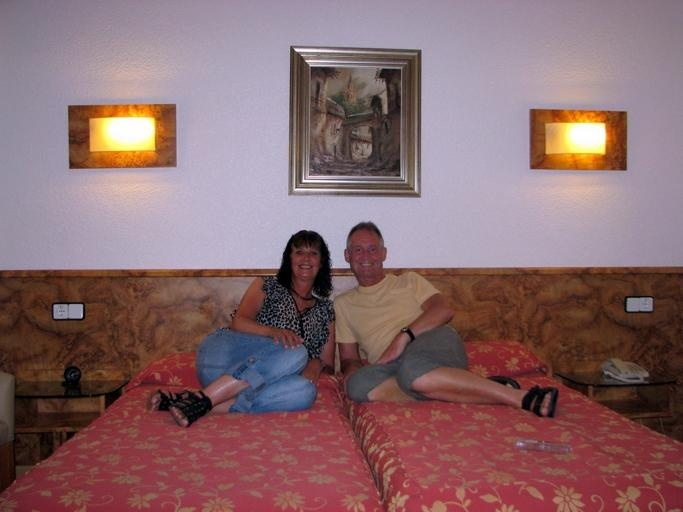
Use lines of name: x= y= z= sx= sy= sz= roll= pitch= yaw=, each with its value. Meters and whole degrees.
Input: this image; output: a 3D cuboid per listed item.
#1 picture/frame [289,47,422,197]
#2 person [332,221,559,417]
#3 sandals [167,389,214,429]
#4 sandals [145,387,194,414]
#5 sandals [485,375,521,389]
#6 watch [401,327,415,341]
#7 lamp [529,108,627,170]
picture/frame: x=0.061 y=-0.929 z=3.607 sx=0.959 sy=1.097 sz=0.081 roll=1 pitch=-2 yaw=-7
person: x=0.344 y=0.396 z=2.950 sx=0.760 sy=1.035 sz=1.532 roll=-17 pitch=10 yaw=-17
sandals: x=-0.721 y=0.728 z=2.554 sx=0.103 sy=0.069 sz=0.174 roll=41 pitch=13 yaw=6
sandals: x=-0.825 y=0.707 z=2.618 sx=0.229 sy=0.084 sz=0.119 roll=0 pitch=-5 yaw=-3
sandals: x=0.890 y=0.707 z=2.914 sx=0.099 sy=0.047 sz=0.130 roll=20 pitch=-5 yaw=-37
watch: x=0.382 y=0.442 z=3.082 sx=0.027 sy=0.070 sz=0.070 roll=-35 pitch=32 yaw=-11
lamp: x=1.621 y=-0.792 z=3.546 sx=0.615 sy=0.427 sz=0.132 roll=-1 pitch=0 yaw=-4
